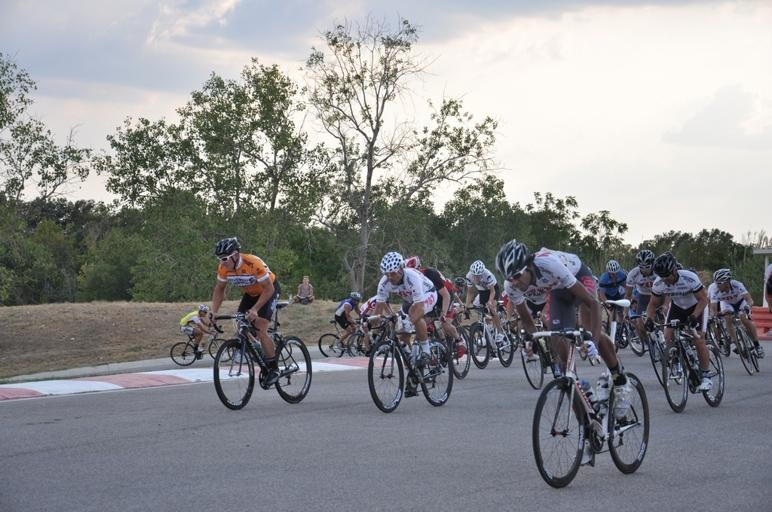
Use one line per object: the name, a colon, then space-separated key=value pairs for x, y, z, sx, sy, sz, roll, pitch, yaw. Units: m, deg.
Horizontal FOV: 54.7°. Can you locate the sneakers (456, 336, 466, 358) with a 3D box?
sneakers: x=1.593 y=1.964 z=15.917 sx=0.149 sy=0.501 sz=0.199 roll=-1 pitch=3 yaw=13

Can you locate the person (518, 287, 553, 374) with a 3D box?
person: x=2.900 y=1.522 z=15.539 sx=1.008 sy=1.373 sz=2.122 roll=-5 pitch=-7 yaw=16

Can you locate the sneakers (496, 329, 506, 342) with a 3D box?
sneakers: x=2.738 y=1.911 z=17.871 sx=0.172 sy=0.240 sz=0.498 roll=-1 pitch=-12 yaw=5

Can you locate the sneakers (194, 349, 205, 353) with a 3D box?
sneakers: x=-4.893 y=2.486 z=19.580 sx=0.123 sy=0.107 sz=0.297 roll=-1 pitch=-4 yaw=18

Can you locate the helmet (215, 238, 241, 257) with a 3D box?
helmet: x=-2.656 y=-0.144 z=12.520 sx=0.341 sy=0.377 sz=0.686 roll=0 pitch=-3 yaw=-11

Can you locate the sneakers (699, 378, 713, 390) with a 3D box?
sneakers: x=5.228 y=2.089 z=12.170 sx=0.269 sy=0.197 sz=0.109 roll=1 pitch=-3 yaw=-29

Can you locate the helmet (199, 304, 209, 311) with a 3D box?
helmet: x=-4.882 y=1.404 z=19.864 sx=0.186 sy=0.187 sz=0.247 roll=-8 pitch=15 yaw=-40

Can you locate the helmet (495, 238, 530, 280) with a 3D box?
helmet: x=1.493 y=0.072 z=9.090 sx=0.351 sy=0.456 sz=0.508 roll=1 pitch=39 yaw=34

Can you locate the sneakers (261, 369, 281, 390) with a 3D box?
sneakers: x=-1.938 y=2.060 z=12.596 sx=0.180 sy=0.308 sz=0.426 roll=-2 pitch=-4 yaw=32

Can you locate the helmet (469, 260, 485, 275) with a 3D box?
helmet: x=2.300 y=0.308 z=18.750 sx=0.364 sy=0.377 sz=0.699 roll=-1 pitch=-3 yaw=7

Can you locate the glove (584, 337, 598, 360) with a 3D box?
glove: x=2.336 y=1.035 z=8.501 sx=0.104 sy=0.265 sz=0.091 roll=-29 pitch=22 yaw=-9

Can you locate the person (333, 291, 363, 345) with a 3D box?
person: x=-1.152 y=1.939 z=22.959 sx=0.877 sy=1.671 sz=0.643 roll=6 pitch=30 yaw=-2

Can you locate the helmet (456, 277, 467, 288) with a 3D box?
helmet: x=1.980 y=0.651 z=19.581 sx=0.113 sy=0.345 sz=0.327 roll=-2 pitch=-21 yaw=-26

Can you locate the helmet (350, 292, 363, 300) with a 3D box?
helmet: x=-0.912 y=1.161 z=21.489 sx=0.303 sy=0.235 sz=0.412 roll=-1 pitch=-2 yaw=-41

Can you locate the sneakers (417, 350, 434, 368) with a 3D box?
sneakers: x=0.658 y=1.731 z=12.429 sx=0.278 sy=0.314 sz=0.187 roll=0 pitch=1 yaw=5

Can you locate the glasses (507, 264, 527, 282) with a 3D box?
glasses: x=1.593 y=0.196 z=8.965 sx=0.153 sy=0.078 sz=0.206 roll=-7 pitch=24 yaw=48

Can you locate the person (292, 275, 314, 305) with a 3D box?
person: x=-4.037 y=1.598 z=35.664 sx=1.067 sy=1.437 sz=0.962 roll=2 pitch=-6 yaw=0

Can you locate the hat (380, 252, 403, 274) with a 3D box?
hat: x=0.082 y=0.118 z=12.422 sx=0.392 sy=0.353 sz=0.512 roll=-1 pitch=-3 yaw=15

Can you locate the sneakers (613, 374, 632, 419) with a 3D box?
sneakers: x=2.745 y=1.629 z=8.701 sx=0.163 sy=0.548 sz=0.217 roll=-2 pitch=-7 yaw=25

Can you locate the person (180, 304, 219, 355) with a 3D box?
person: x=-4.991 y=1.906 z=19.829 sx=0.922 sy=1.367 sz=0.531 roll=5 pitch=16 yaw=-6

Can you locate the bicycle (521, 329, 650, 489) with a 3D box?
bicycle: x=2.334 y=1.981 z=8.545 sx=1.794 sy=1.258 sz=0.376 roll=2 pitch=-3 yaw=-35

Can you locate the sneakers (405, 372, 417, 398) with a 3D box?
sneakers: x=0.411 y=2.150 z=12.361 sx=0.115 sy=0.355 sz=0.246 roll=1 pitch=-7 yaw=39

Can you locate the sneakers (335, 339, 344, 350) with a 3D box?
sneakers: x=-1.333 y=2.564 z=21.461 sx=0.151 sy=0.217 sz=0.334 roll=-1 pitch=-9 yaw=4

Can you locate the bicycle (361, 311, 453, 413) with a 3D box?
bicycle: x=0.379 y=1.728 z=12.343 sx=0.555 sy=1.578 sz=1.986 roll=-2 pitch=-4 yaw=41
